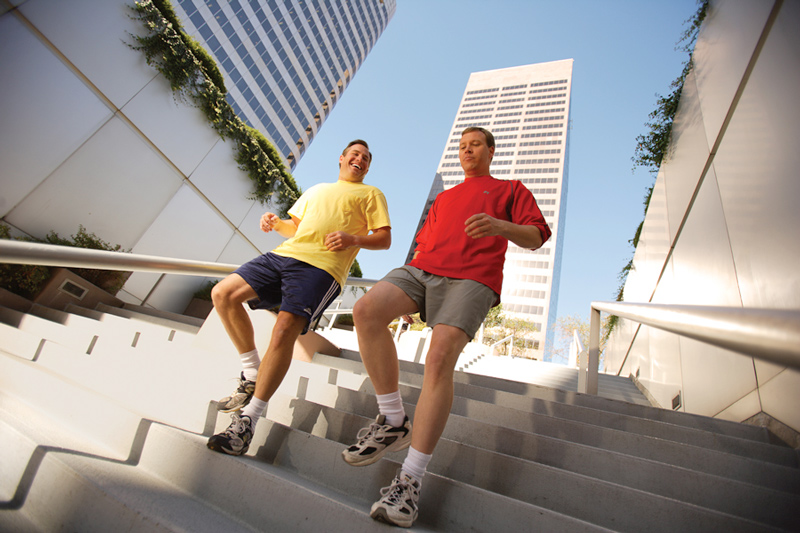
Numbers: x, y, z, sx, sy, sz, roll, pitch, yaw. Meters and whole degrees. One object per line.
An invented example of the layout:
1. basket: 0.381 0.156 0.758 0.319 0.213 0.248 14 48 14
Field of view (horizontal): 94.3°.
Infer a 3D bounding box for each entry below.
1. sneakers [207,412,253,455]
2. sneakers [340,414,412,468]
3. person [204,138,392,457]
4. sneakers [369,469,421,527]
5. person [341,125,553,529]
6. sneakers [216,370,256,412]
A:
1. sneakers: -0.942 0.964 2.105 0.160 0.236 0.330 1 -17 8
2. sneakers: -0.116 0.945 2.109 0.479 0.233 0.171 -8 -11 -37
3. person: -0.658 0.038 2.646 0.839 2.521 0.550 10 -28 12
4. sneakers: -0.014 1.092 1.744 0.137 0.151 0.317 1 -27 18
5. person: 0.249 0.263 2.147 0.827 2.048 0.613 4 -15 36
6. sneakers: -1.027 0.796 2.377 0.096 0.216 0.303 -2 2 25
